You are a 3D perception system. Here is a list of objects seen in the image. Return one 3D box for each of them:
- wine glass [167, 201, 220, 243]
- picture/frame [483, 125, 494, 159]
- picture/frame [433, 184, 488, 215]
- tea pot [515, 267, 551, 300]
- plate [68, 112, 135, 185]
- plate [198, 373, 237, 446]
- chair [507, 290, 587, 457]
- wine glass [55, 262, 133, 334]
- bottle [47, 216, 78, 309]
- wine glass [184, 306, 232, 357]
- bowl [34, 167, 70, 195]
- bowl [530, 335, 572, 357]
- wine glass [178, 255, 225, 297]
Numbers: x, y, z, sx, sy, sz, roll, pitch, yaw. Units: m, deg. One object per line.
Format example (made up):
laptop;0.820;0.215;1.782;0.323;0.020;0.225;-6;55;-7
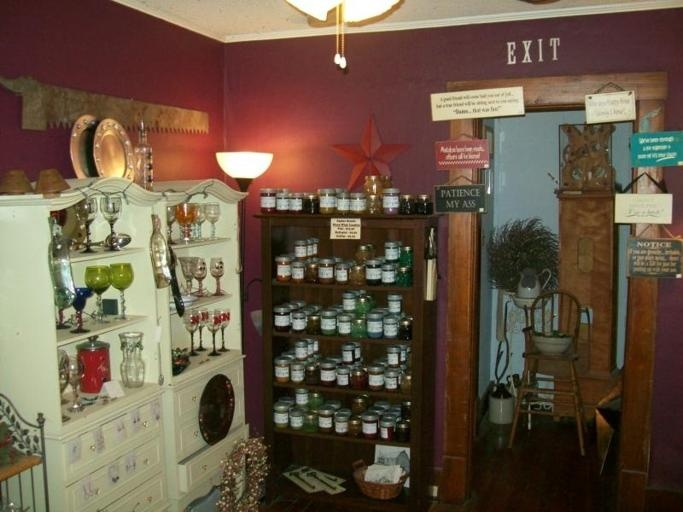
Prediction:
wine glass;-0.893;-0.221;3.732;0.224;0.261;0.370;3;8;32
picture/frame;1.362;-1.036;5.545;0.031;0.325;0.451;-2;5;22
picture/frame;0.782;-0.370;4.022;0.334;0.197;0.156;-3;5;9
tea pot;1.734;0.249;5.556;0.322;0.329;0.251;2;5;11
plate;-1.378;-0.591;3.488;0.060;0.395;0.409;-3;33;27
plate;-0.776;0.949;3.766;0.376;0.400;0.058;-11;-21;40
chair;1.807;0.851;5.257;0.555;1.330;0.524;-2;13;13
wine glass;-1.313;0.226;3.205;0.129;0.327;0.367;6;8;23
bottle;-1.338;0.041;2.898;0.098;0.448;0.131;-5;5;-19
wine glass;-0.843;0.449;3.866;0.341;0.355;0.273;0;0;-4
bowl;-1.387;-0.349;2.901;0.143;0.114;0.065;-6;5;-24
bowl;1.745;0.739;5.022;0.301;0.151;0.189;-2;5;20
wine glass;-0.887;0.138;3.846;0.249;0.226;0.105;-2;2;-36
